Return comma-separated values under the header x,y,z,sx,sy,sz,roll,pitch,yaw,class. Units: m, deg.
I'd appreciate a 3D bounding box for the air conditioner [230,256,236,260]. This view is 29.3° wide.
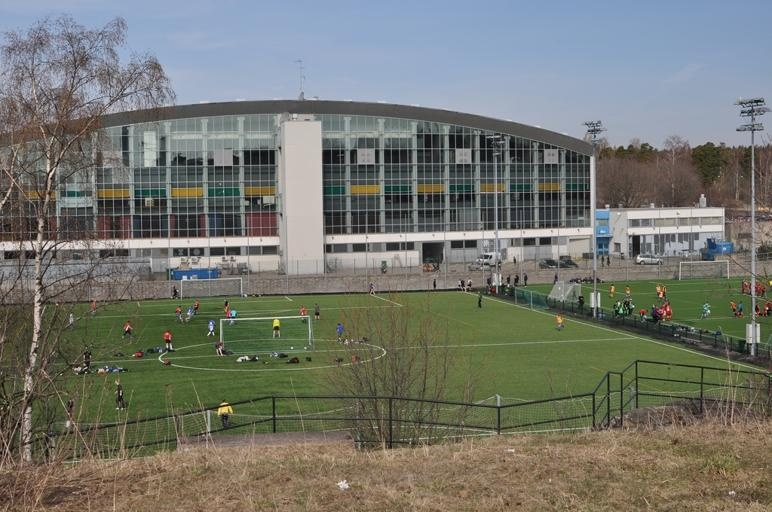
x,y,z,sx,sy,sz,roll,pitch,yaw,class
-17.339,0.263,165.083,0.519,0.513,0.363,1,4,8,air conditioner

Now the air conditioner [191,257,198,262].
x,y,z,sx,sy,sz,roll,pitch,yaw,class
-21.447,0.461,164.353,0.699,0.445,0.891,-1,0,1,air conditioner

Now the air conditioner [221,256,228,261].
x,y,z,sx,sy,sz,roll,pitch,yaw,class
-18.135,0.294,165.423,0.630,0.410,0.917,-1,0,7,air conditioner

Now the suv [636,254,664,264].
x,y,z,sx,sy,sz,roll,pitch,yaw,class
29.965,0.446,168.590,2.397,0.925,1.296,-1,4,-2,suv

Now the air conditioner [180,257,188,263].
x,y,z,sx,sy,sz,roll,pitch,yaw,class
-22.664,0.269,164.612,0.898,0.841,0.448,-1,-2,-7,air conditioner

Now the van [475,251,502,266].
x,y,z,sx,sy,sz,roll,pitch,yaw,class
11.321,0.313,166.164,1.432,0.999,2.766,-2,-3,37,van
